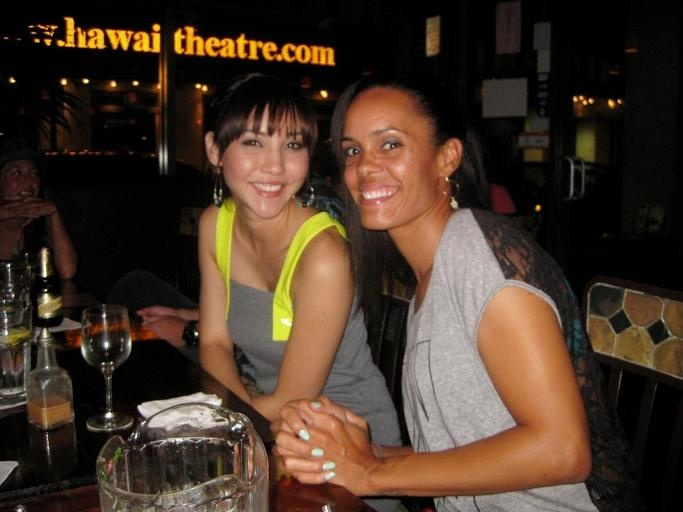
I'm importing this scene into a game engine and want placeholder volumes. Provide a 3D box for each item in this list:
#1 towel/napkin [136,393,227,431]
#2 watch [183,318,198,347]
[{"bbox_3d":[-0.355,0.345,1.231,0.176,0.050,0.154,2,7,-12],"label":"towel/napkin"},{"bbox_3d":[-0.726,0.367,2.675,0.045,0.121,0.088,7,17,14],"label":"watch"}]
